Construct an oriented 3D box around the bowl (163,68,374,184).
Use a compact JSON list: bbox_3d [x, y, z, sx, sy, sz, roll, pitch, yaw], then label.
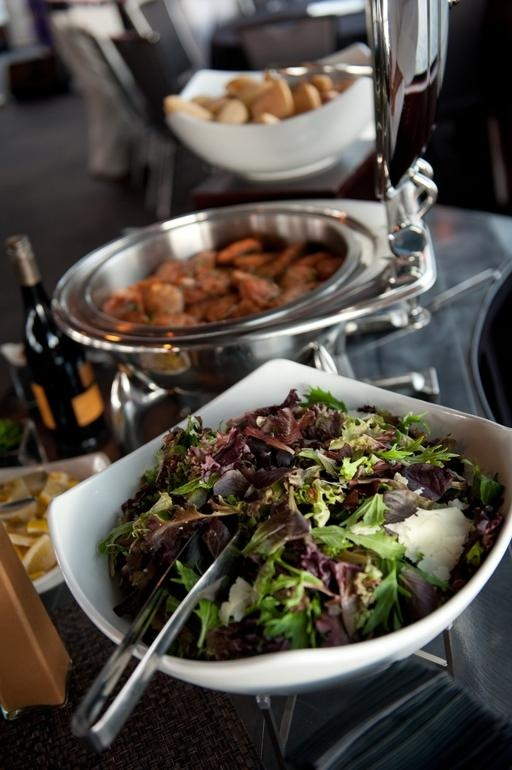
[{"bbox_3d":[0.006,-0.402,0.902,0.240,0.116,0.291,37,44,26],"label":"bowl"}]
